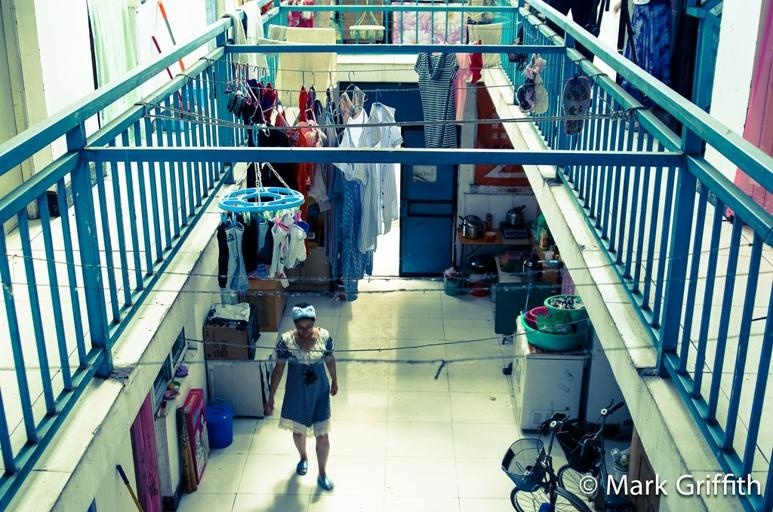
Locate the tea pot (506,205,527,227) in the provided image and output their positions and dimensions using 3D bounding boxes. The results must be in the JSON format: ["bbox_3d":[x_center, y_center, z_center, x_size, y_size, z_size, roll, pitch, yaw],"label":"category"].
[{"bbox_3d":[2.058,-0.621,10.248,0.281,0.373,0.360,17,27,31],"label":"tea pot"}]

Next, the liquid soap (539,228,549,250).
[{"bbox_3d":[2.265,-0.237,9.354,0.138,0.459,0.134,6,-22,-1],"label":"liquid soap"}]

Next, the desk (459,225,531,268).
[{"bbox_3d":[1.663,-0.194,10.296,0.838,0.877,0.658,-2,25,0],"label":"desk"}]

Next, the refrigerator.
[{"bbox_3d":[1.866,1.347,7.908,0.749,1.043,1.428,0,19,4],"label":"refrigerator"}]

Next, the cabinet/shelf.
[{"bbox_3d":[-1.726,1.534,7.984,0.549,0.645,0.973,4,-3,3],"label":"cabinet/shelf"}]

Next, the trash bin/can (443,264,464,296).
[{"bbox_3d":[0.948,0.357,9.170,0.238,0.309,0.460,3,37,3],"label":"trash bin/can"}]

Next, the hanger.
[{"bbox_3d":[-0.772,-1.283,5.887,1.092,0.422,0.773,-1,36,-6],"label":"hanger"}]

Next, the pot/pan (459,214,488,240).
[{"bbox_3d":[1.352,-0.479,10.186,0.401,0.360,0.320,1,28,0],"label":"pot/pan"}]

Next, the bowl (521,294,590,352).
[{"bbox_3d":[1.811,0.728,6.970,0.725,0.684,0.708,-1,16,0],"label":"bowl"}]

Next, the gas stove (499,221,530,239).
[{"bbox_3d":[2.007,-0.383,10.116,0.441,0.200,0.313,0,17,5],"label":"gas stove"}]

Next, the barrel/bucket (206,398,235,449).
[{"bbox_3d":[-1.825,1.910,7.405,0.393,0.529,0.397,0,15,0],"label":"barrel/bucket"}]

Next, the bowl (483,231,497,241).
[{"bbox_3d":[1.615,-0.302,10.107,0.123,0.087,0.194,7,33,15],"label":"bowl"}]
